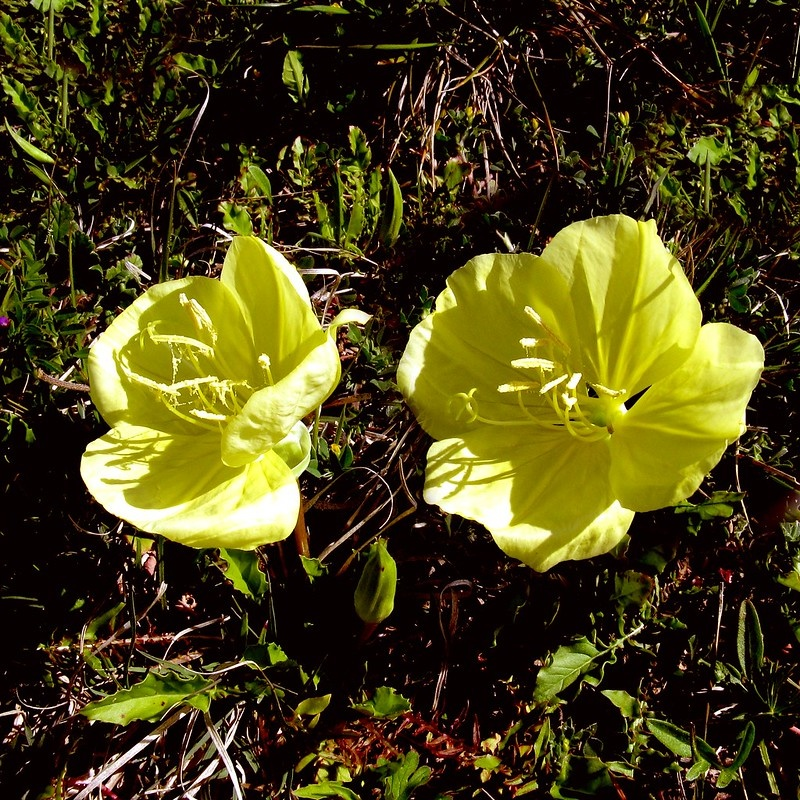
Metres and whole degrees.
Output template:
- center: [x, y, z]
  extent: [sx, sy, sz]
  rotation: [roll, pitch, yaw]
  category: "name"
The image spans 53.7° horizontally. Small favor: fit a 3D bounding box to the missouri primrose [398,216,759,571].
- center: [0.300, -0.035, 1.610]
  extent: [0.636, 0.370, 0.682]
  rotation: [-26, 66, -10]
  category: "missouri primrose"
